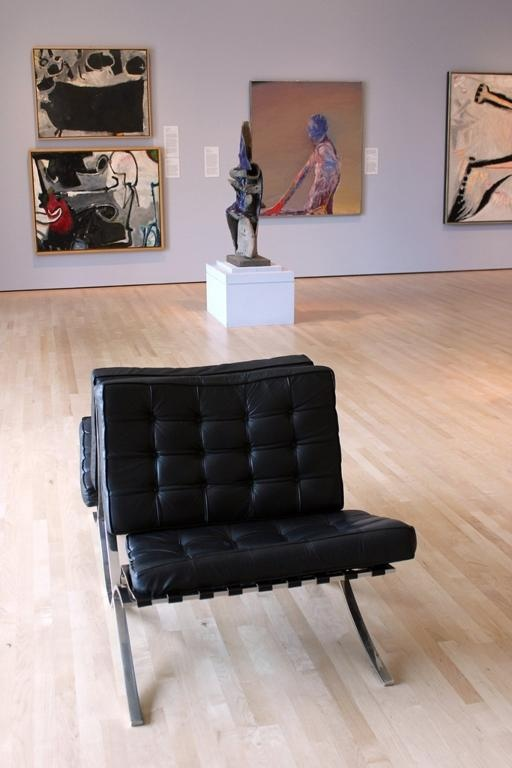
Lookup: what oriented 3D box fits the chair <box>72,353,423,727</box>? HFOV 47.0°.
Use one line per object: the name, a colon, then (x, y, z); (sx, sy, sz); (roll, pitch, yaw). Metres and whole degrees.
chair: (-0.099, 0.248, 1.827); (0.622, 0.688, 1.182); (-4, 16, -10)
